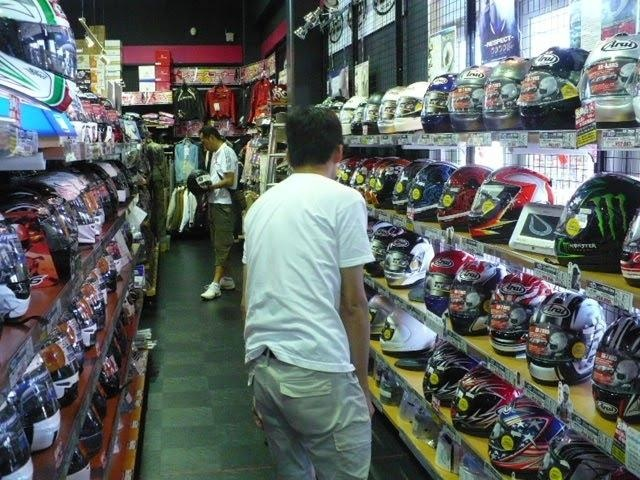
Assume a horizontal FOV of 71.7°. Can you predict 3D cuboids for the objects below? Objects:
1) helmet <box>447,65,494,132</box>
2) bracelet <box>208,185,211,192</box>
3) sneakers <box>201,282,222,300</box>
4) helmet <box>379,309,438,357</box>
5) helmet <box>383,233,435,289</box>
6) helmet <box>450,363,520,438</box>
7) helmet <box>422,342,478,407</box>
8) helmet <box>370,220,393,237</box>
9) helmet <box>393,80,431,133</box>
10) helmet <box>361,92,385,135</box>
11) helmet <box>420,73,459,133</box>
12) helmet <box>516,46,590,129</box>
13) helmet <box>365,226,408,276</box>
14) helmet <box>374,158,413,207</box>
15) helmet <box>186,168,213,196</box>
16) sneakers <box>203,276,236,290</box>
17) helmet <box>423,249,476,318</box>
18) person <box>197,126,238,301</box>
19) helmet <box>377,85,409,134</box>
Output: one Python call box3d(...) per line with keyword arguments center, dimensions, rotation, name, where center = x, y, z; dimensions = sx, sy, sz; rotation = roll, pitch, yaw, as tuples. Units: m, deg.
box3d(center=(0.695, -0.679, 2.172), dimensions=(0.273, 0.292, 0.226), rotation=(2, 8, 20), name="helmet")
box3d(center=(-1.598, -0.728, 6.383), dimensions=(0.016, 0.073, 0.047), rotation=(8, 5, -25), name="bracelet")
box3d(center=(-1.616, 0.761, 6.612), dimensions=(0.135, 0.179, 0.367), rotation=(1, 0, 8), name="sneakers")
box3d(center=(0.582, 0.609, 2.940), dimensions=(0.322, 0.235, 0.248), rotation=(8, 0, 17), name="helmet")
box3d(center=(0.595, 0.147, 3.039), dimensions=(0.355, 0.332, 0.280), rotation=(-2, 3, -32), name="helmet")
box3d(center=(0.756, 0.772, 2.095), dimensions=(0.288, 0.251, 0.216), rotation=(30, 0, 32), name="helmet")
box3d(center=(0.665, 0.739, 2.421), dimensions=(0.262, 0.252, 0.224), rotation=(20, 5, 2), name="helmet")
box3d(center=(0.451, -0.081, 3.433), dimensions=(0.097, 0.087, 0.136), rotation=(9, 5, -8), name="helmet")
box3d(center=(0.550, -0.821, 2.739), dimensions=(0.268, 0.270, 0.223), rotation=(0, 7, -8), name="helmet")
box3d(center=(0.378, -0.910, 3.267), dimensions=(0.192, 0.275, 0.261), rotation=(-3, 9, -26), name="helmet")
box3d(center=(0.628, -0.731, 2.393), dimensions=(0.271, 0.291, 0.230), rotation=(-5, 10, -19), name="helmet")
box3d(center=(0.840, -0.530, 1.607), dimensions=(0.285, 0.318, 0.226), rotation=(-2, 11, -2), name="helmet")
box3d(center=(0.448, 0.078, 3.482), dimensions=(0.379, 0.431, 0.321), rotation=(6, -2, -12), name="helmet")
box3d(center=(0.508, -0.399, 3.235), dimensions=(0.299, 0.336, 0.256), rotation=(4, 9, 8), name="helmet")
box3d(center=(-1.756, -0.804, 6.414), dimensions=(0.436, 0.358, 0.254), rotation=(6, 11, 43), name="helmet")
box3d(center=(-1.578, 0.679, 6.979), dimensions=(0.491, 0.254, 0.184), rotation=(4, -1, -44), name="sneakers")
box3d(center=(0.693, 0.213, 2.501), dimensions=(0.231, 0.357, 0.325), rotation=(0, -9, 37), name="helmet")
box3d(center=(-1.539, -0.427, 6.724), dimensions=(0.601, 2.510, 0.811), rotation=(-3, 8, -12), name="person")
box3d(center=(0.431, -0.882, 3.038), dimensions=(0.267, 0.293, 0.216), rotation=(-5, 12, -25), name="helmet")
